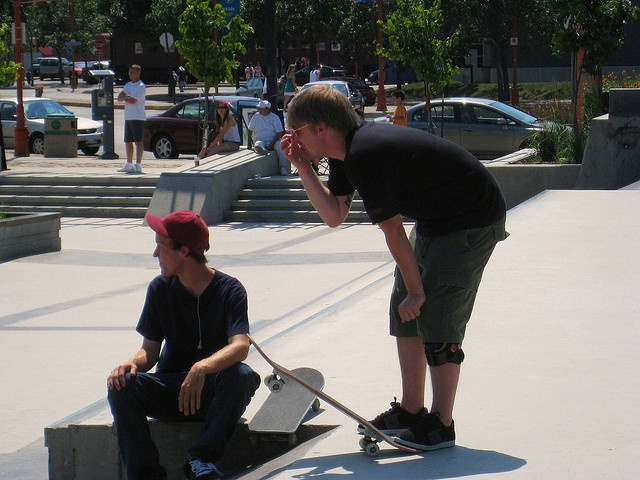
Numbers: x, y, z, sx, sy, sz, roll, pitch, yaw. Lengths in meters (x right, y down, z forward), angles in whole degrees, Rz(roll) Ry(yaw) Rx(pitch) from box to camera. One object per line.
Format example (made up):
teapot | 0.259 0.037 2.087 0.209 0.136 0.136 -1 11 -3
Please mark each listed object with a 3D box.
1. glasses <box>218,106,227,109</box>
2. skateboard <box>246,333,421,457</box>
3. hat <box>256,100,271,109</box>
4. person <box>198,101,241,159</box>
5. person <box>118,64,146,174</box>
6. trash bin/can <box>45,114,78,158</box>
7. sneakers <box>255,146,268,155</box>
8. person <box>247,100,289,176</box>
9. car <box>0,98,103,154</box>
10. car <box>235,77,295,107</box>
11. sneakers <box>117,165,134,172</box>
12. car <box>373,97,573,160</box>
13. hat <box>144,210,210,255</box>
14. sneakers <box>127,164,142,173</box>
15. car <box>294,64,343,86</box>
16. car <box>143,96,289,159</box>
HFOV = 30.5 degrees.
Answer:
glasses | -1.819 -2.440 21.566 0.138 0.062 0.039 2 8 -5
skateboard | 0.132 1.542 11.260 1.363 0.247 0.290 43 3 3
hat | -1.003 -2.472 21.295 0.185 0.115 0.149 1 2 -11
person | -1.871 -2.029 21.716 0.745 1.053 0.763 1 8 -6
person | -3.480 -2.224 21.558 0.460 1.953 0.680 0 8 -11
trash bin/can | -5.734 -2.355 26.061 0.537 1.103 0.625 -3 17 -12
sneakers | -1.057 -1.625 21.174 0.288 0.155 0.227 0 8 -16
person | -0.978 -1.851 21.373 0.587 1.540 0.896 -5 -2 -17
car | -6.441 -2.753 27.565 2.222 1.112 1.280 3 7 31
car | -2.205 -5.034 40.001 1.599 0.933 0.998 6 2 38
sneakers | -3.598 -1.340 21.630 0.334 0.169 0.116 10 16 43
car | 3.067 -1.813 23.543 3.812 1.558 1.785 0 9 16
hat | -1.366 -0.125 11.202 0.669 0.381 0.453 18 -2 -4
sneakers | -3.418 -1.320 21.563 0.223 0.165 0.127 11 11 28
car | -0.171 -7.587 51.975 2.319 0.967 1.167 1 3 -2
car | -2.597 -2.483 24.984 2.980 1.254 1.421 -6 5 18
